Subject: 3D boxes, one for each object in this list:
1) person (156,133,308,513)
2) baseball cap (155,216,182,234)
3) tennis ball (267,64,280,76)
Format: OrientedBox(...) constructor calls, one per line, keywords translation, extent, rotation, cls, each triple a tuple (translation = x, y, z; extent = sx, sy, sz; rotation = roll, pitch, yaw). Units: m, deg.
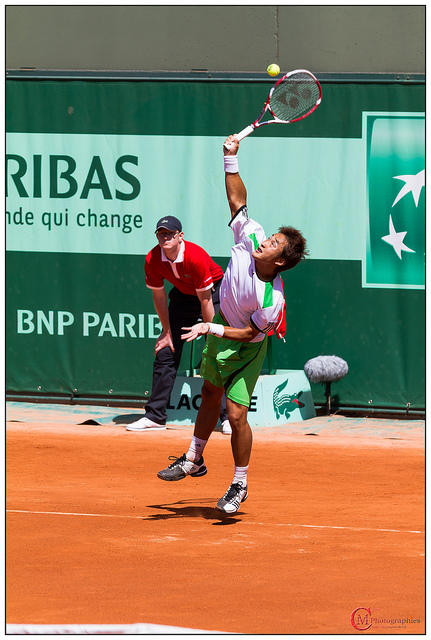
OrientedBox(translation=(0.072, 0.037, 4.199), extent=(0.572, 1.865, 0.631), rotation=(-2, 7, -24), cls="person")
OrientedBox(translation=(-0.282, -0.574, 5.241), extent=(0.127, 0.089, 0.215), rotation=(2, 6, 8), cls="baseball cap")
OrientedBox(translation=(0.425, -1.784, 6.224), extent=(0.088, 0.053, 0.086), rotation=(-4, 39, 4), cls="tennis ball")
